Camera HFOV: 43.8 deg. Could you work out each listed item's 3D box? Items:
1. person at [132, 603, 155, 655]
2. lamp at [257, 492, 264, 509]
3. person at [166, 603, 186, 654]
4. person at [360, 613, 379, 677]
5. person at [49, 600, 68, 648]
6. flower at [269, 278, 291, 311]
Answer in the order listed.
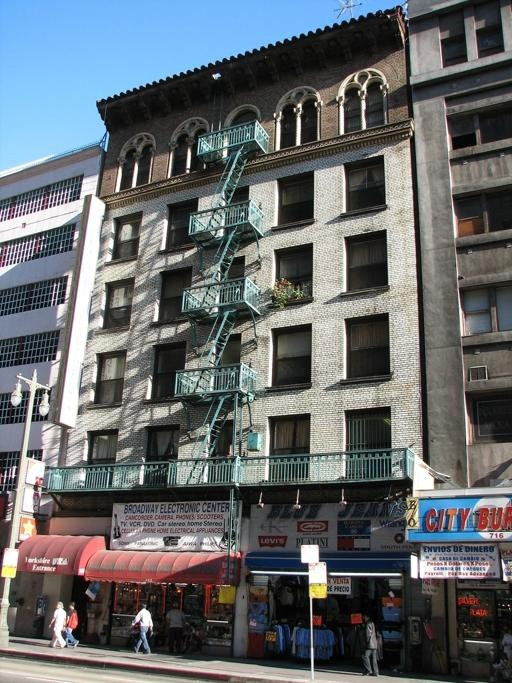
[{"bbox_3d":[-3.393,8.505,18.840,0.547,1.306,0.617,5,-32,-9],"label":"person"},{"bbox_3d":[0.144,5.029,20.223,0.235,0.699,0.166,-1,-50,11],"label":"lamp"},{"bbox_3d":[-2.519,9.024,19.957,0.568,1.264,1.525,3,-21,-5],"label":"person"},{"bbox_3d":[2.646,7.151,14.971,0.347,1.229,0.952,-2,-22,8],"label":"person"},{"bbox_3d":[-6.033,8.719,19.615,0.521,1.252,1.403,7,-22,-15],"label":"person"},{"bbox_3d":[0.849,-1.763,22.981,0.866,1.139,0.356,-15,-27,34],"label":"flower"}]
